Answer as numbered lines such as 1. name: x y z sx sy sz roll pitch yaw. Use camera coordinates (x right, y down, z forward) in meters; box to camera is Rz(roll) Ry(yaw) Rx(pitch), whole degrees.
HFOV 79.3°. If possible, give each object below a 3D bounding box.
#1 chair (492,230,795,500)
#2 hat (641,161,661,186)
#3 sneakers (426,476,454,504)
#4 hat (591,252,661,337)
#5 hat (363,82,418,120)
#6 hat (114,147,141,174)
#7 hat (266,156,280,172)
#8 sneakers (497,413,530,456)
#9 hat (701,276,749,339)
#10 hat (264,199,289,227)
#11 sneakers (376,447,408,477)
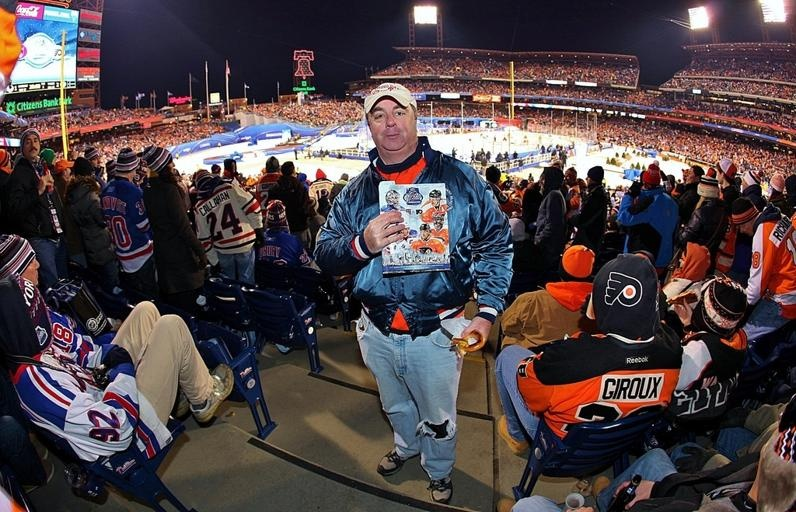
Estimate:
1. chair: 2.177 0.983 4.175 1.862 1.681 2.858 -4 -34 13
2. hat: 4.090 -1.336 7.818 0.326 0.358 0.472 11 28 26
3. sneakers: 0.386 2.051 4.251 0.220 0.185 0.200 1 14 6
4. hat: 1.655 0.339 3.877 0.464 0.604 0.643 -3 -5 4
5. hat: -0.055 -1.296 3.914 0.279 0.189 0.370 -14 -7 5
6. hat: -3.585 -1.278 6.358 0.283 0.287 0.382 6 17 -18
7. hat: -2.653 -1.972 10.178 0.271 0.264 0.416 3 28 5
8. sneakers: 1.112 1.774 4.759 0.253 0.403 0.274 -15 4 -6
9. hat: 2.740 0.415 3.991 0.342 0.478 0.188 -2 -2 24
10. hat: -1.721 -0.645 6.899 0.273 0.429 0.260 2 -29 -21
11. sneakers: -0.013 1.925 4.566 0.135 0.155 0.377 46 20 18
